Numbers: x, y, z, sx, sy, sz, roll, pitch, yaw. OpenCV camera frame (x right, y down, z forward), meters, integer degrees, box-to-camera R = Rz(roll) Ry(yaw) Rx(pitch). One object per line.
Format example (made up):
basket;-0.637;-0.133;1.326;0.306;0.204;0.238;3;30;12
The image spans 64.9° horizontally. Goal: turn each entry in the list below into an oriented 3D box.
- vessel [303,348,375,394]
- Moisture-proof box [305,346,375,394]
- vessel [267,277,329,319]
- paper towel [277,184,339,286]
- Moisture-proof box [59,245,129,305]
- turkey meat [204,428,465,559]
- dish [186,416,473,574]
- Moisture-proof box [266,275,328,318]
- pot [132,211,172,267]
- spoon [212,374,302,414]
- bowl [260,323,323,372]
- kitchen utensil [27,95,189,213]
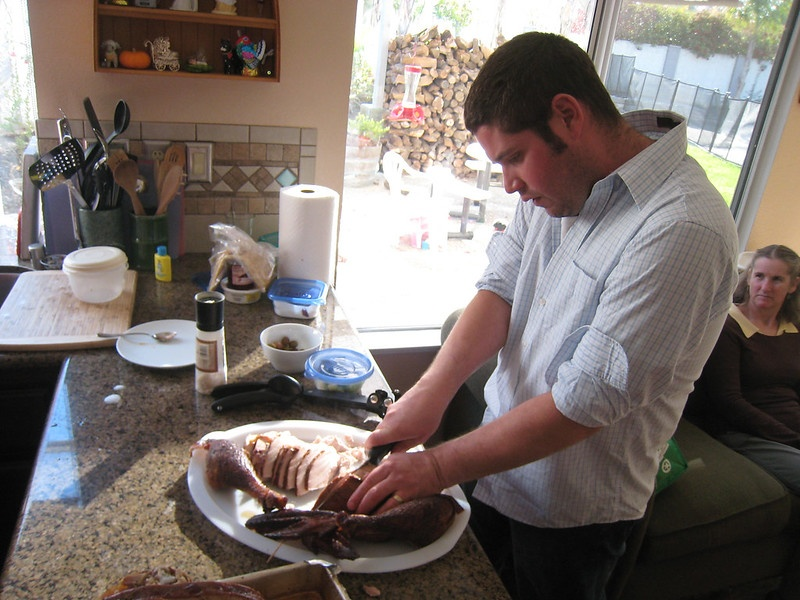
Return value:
vessel;-0.197;0.228;1.844;0.191;0.089;0.225;9;13;36
Moisture-proof box;-0.179;0.205;1.833;0.154;0.064;0.131;-5;29;-11
vessel;-0.359;-0.006;2.194;0.169;0.063;0.152;5;34;4
paper towel;-0.338;-0.227;2.274;0.201;0.322;0.080;-1;21;-13
Moisture-proof box;-1.006;-0.081;2.089;0.198;0.156;0.197;6;25;0
turkey meat;-0.184;0.460;1.438;0.414;0.071;0.295;10;19;5
dish;-0.233;0.485;1.392;0.449;0.053;0.342;18;25;23
Moisture-proof box;-0.366;-0.006;2.193;0.166;0.061;0.149;4;33;4
pot;-0.904;-0.199;2.270;0.125;0.214;0.127;4;20;-1
spoon;-0.391;0.256;1.780;0.254;0.110;0.097;-10;31;-14
bowl;-0.336;0.134;1.926;0.156;0.081;0.156;4;28;-2
kitchen utensil;-1.000;-0.494;2.189;0.486;0.388;0.244;-3;21;-19
